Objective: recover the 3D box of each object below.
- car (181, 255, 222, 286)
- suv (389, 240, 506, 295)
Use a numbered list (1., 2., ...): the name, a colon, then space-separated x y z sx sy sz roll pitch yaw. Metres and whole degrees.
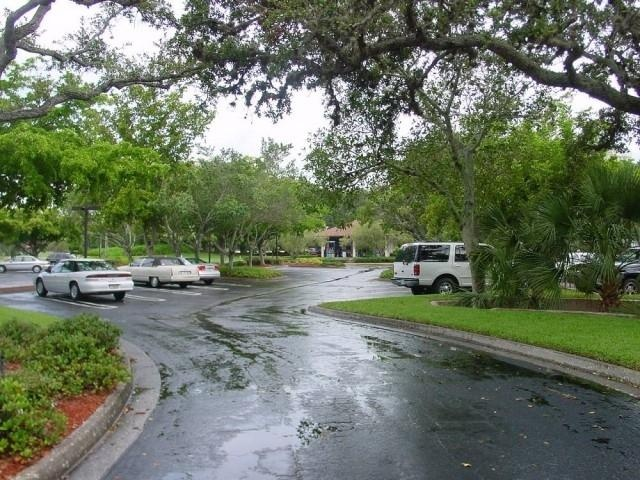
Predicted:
1. car: -7.310 2.031 29.543 1.299 1.022 2.751 3 1 -44
2. suv: 5.035 1.182 20.858 3.384 1.765 1.882 -3 1 -11
